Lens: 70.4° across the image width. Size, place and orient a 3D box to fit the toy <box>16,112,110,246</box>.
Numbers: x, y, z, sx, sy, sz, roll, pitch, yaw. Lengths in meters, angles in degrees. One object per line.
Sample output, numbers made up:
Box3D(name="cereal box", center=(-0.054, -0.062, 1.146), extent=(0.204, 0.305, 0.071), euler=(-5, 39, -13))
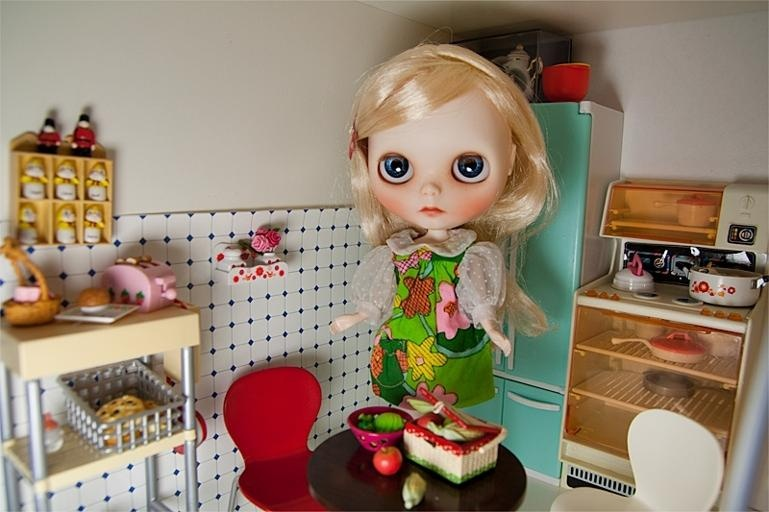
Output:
Box3D(name="toy", center=(-1.417, -0.330, 2.390), extent=(0.408, 0.574, 0.103), euler=(-7, 10, -27))
